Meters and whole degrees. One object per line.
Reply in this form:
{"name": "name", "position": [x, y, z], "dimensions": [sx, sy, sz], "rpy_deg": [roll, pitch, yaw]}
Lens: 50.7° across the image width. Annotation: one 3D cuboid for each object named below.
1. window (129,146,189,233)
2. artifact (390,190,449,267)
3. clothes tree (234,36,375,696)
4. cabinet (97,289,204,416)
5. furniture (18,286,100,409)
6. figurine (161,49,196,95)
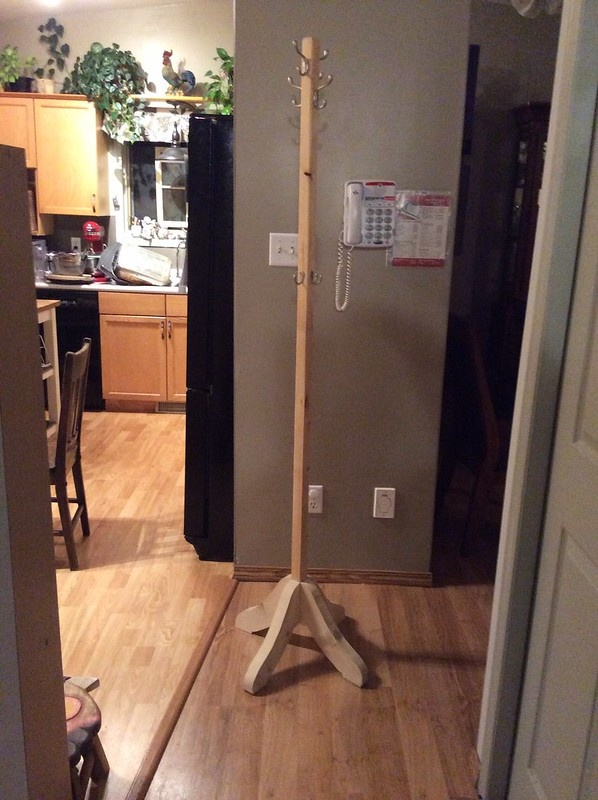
{"name": "window", "position": [-1.085, -1.663, 4.933], "dimensions": [0.490, 0.700, 0.062], "rpy_deg": [-4, 45, -16]}
{"name": "artifact", "position": [0.389, -0.604, 2.080], "dimensions": [0.236, 0.074, 0.295], "rpy_deg": [-3, -29, 18]}
{"name": "clothes tree", "position": [-0.001, -0.062, 1.817], "dimensions": [0.370, 1.736, 0.384], "rpy_deg": [-1, 10, -9]}
{"name": "cabinet", "position": [-1.021, -0.320, 4.781], "dimensions": [0.879, 1.153, 0.706], "rpy_deg": [0, 3, -5]}
{"name": "furniture", "position": [-1.692, -0.539, 4.774], "dimensions": [0.438, 1.032, 0.657], "rpy_deg": [0, 36, -10]}
{"name": "figurine", "position": [-0.877, -2.390, 4.618], "dimensions": [0.237, 0.302, 0.221], "rpy_deg": [-2, 11, -12]}
